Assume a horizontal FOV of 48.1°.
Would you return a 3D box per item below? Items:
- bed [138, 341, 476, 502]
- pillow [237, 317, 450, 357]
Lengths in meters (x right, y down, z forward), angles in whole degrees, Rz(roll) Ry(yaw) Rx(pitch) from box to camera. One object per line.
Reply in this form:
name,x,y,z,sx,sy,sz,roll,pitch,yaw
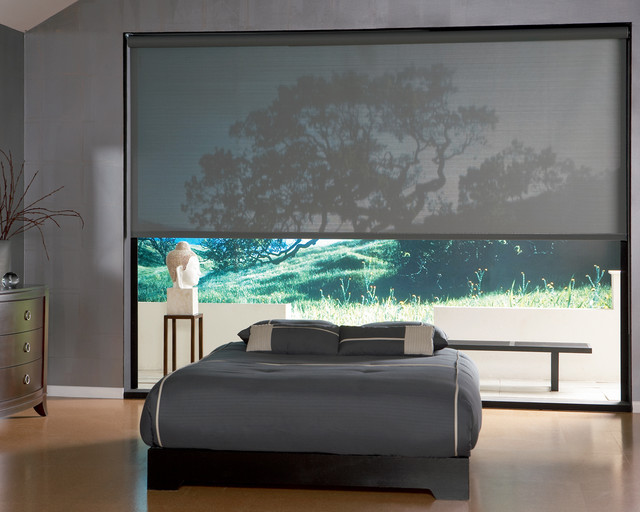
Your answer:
bed,-0.015,1.074,4.614,2.066,0.666,0.726,1,9,6
pillow,0.195,0.633,5.447,1.258,0.247,0.286,-2,-2,2
